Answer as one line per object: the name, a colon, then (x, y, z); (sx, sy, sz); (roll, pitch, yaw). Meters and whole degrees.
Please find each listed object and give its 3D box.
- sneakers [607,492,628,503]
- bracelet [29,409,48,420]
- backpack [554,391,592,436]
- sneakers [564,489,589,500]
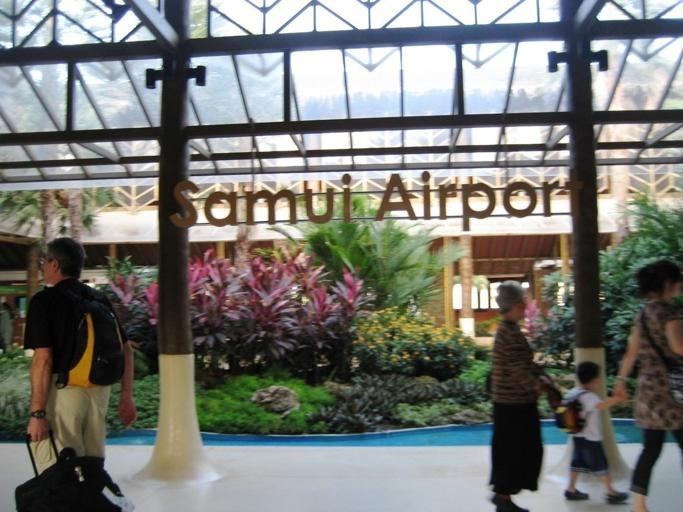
sneakers: (2.591, 2.277, 5.888); (0.231, 0.082, 0.078); (-5, -3, -13)
bracelet: (-2.194, 1.154, 4.518); (0.090, 0.044, 0.073); (-5, -9, 11)
backpack: (2.110, 1.470, 5.717); (0.443, 0.359, 0.284); (-4, -9, -9)
sneakers: (2.255, 2.292, 5.972); (0.208, 0.065, 0.093); (-2, -9, 4)
